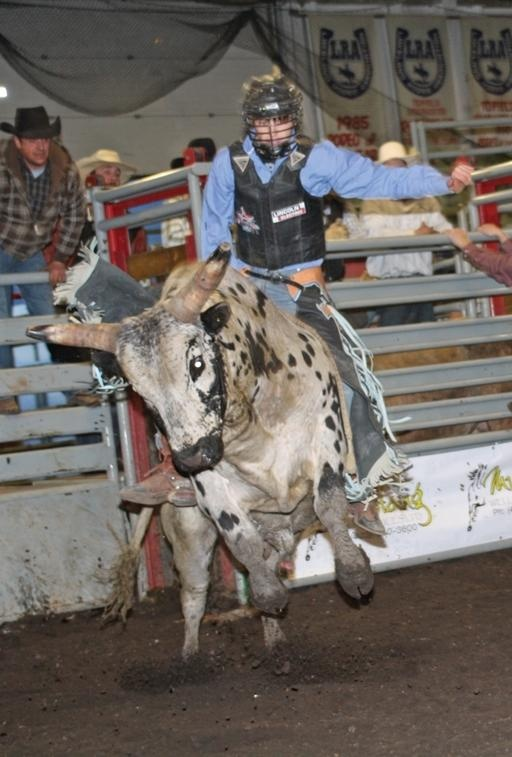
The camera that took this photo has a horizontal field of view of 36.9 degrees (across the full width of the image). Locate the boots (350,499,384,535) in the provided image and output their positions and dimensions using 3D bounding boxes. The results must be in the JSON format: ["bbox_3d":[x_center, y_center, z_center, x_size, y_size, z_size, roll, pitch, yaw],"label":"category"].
[{"bbox_3d":[0.550,0.703,3.907,0.118,0.109,0.281,1,-2,-26],"label":"boots"}]

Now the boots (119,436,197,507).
[{"bbox_3d":[-0.541,0.516,4.298,0.258,0.395,0.646,7,-1,32],"label":"boots"}]

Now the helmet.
[{"bbox_3d":[0.093,-1.168,3.354,0.280,0.309,0.314,-3,41,9],"label":"helmet"}]
